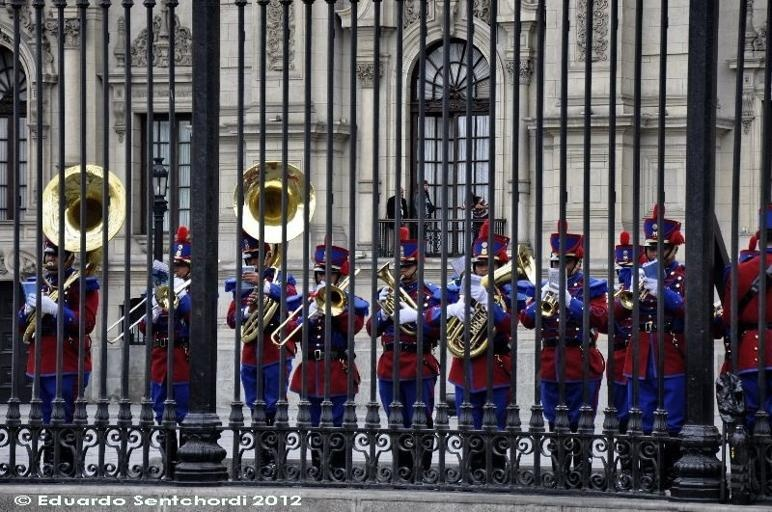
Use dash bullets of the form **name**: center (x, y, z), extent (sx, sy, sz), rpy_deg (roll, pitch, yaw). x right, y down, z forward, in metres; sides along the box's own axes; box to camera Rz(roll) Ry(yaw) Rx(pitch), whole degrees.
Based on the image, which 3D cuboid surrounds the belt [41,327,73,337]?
- **belt**: center (-3.901, 0.947, 26.702), extent (0.380, 0.123, 0.247), rpy_deg (-2, -3, 11)

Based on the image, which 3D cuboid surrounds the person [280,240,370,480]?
- **person**: center (-0.826, 1.177, 25.750), extent (1.114, 2.432, 1.051), rpy_deg (1, -1, 6)

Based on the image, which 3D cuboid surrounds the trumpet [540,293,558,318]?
- **trumpet**: center (1.823, 0.572, 25.287), extent (0.254, 0.219, 0.384), rpy_deg (11, 14, 4)

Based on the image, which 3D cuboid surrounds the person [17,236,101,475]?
- **person**: center (-3.869, 1.092, 26.304), extent (1.126, 2.631, 1.028), rpy_deg (0, -2, 17)

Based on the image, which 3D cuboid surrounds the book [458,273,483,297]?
- **book**: center (0.995, 0.349, 25.500), extent (0.093, 0.261, 0.223), rpy_deg (-2, 7, -37)

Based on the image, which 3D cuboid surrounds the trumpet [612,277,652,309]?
- **trumpet**: center (2.903, 0.457, 25.728), extent (0.296, 0.265, 0.591), rpy_deg (18, -22, -15)

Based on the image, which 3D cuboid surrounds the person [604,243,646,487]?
- **person**: center (2.640, 1.176, 26.141), extent (0.539, 2.651, 0.613), rpy_deg (-3, 0, -8)

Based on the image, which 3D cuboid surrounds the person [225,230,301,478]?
- **person**: center (-1.351, 1.105, 26.950), extent (1.114, 2.568, 1.059), rpy_deg (0, -3, 9)
